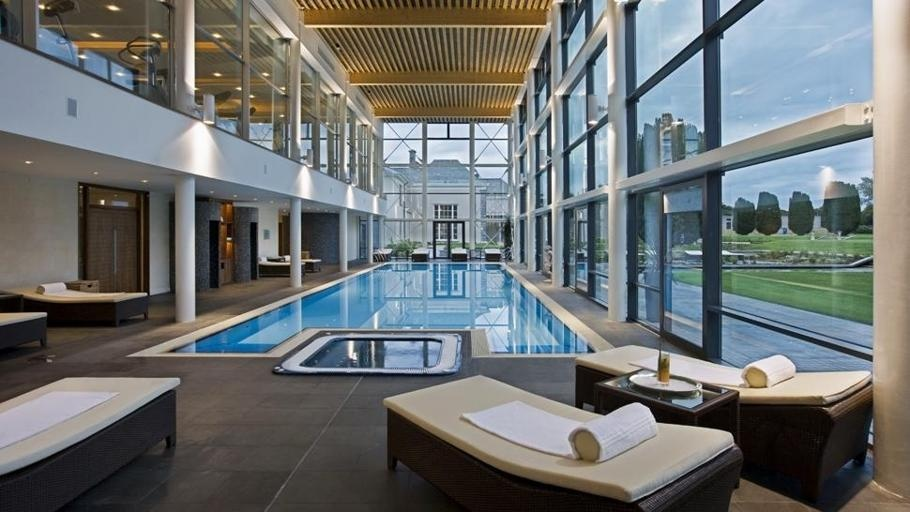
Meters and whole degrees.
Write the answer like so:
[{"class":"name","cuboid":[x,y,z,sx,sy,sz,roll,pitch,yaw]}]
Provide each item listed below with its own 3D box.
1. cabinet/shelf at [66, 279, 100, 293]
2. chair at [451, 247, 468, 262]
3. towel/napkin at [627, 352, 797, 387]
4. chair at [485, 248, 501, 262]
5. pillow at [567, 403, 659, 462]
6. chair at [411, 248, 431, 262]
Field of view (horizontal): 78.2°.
[{"class":"cabinet/shelf","cuboid":[-8.674,0.693,13.007,0.435,0.237,0.407,-1,1,-4]},{"class":"chair","cuboid":[0.218,-0.089,29.044,0.846,0.546,1.395,0,-2,0]},{"class":"towel/napkin","cuboid":[3.445,1.537,7.517,0.675,0.163,0.985,0,1,-42]},{"class":"chair","cuboid":[1.939,-0.036,28.421,0.713,0.538,0.564,2,8,10]},{"class":"pillow","cuboid":[1.788,1.999,6.266,1.111,0.396,0.533,-13,2,-17]},{"class":"chair","cuboid":[-1.764,-0.073,28.775,0.823,0.599,1.420,-1,-2,0]}]
